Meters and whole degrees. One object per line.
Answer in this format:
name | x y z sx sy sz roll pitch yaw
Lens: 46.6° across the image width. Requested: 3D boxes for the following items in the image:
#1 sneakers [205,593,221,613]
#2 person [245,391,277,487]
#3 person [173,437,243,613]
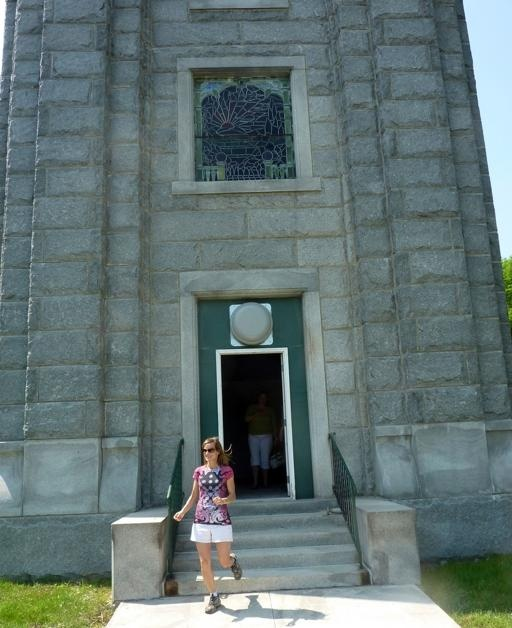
sneakers | -0.372 2.658 5.428 0.084 0.127 0.216 -5 -16 16
person | 0.142 2.205 10.095 0.481 1.729 0.774 -6 8 -1
person | -0.417 2.023 5.689 0.530 1.616 0.767 -7 8 -4
